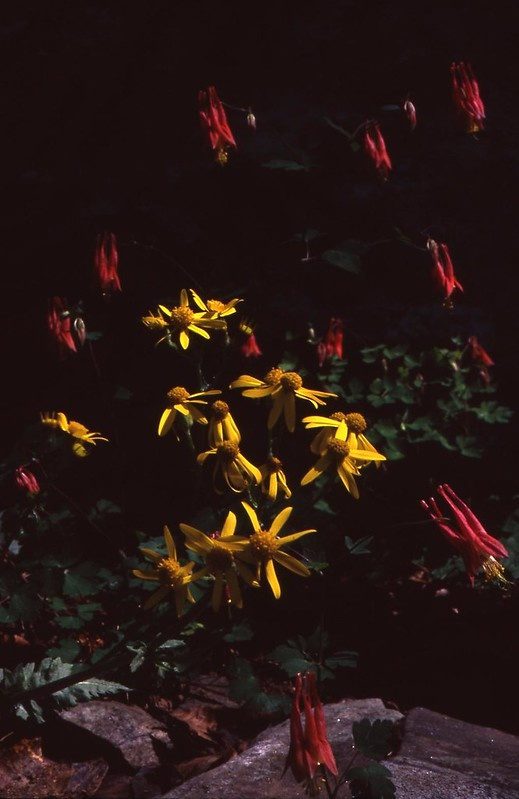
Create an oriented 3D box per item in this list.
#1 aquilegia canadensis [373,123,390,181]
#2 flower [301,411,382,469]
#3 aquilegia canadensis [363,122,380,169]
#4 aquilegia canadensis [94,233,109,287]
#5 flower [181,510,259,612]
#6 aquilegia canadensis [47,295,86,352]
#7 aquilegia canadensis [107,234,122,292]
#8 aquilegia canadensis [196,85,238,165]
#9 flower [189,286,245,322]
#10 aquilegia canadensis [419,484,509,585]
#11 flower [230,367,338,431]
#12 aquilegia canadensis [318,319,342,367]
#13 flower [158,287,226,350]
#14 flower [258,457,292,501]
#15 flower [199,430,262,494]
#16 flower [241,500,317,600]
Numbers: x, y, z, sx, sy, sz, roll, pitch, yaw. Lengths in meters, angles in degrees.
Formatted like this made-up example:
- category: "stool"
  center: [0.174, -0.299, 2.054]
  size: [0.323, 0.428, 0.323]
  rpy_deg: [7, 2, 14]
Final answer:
- category: "aquilegia canadensis"
  center: [0.223, -0.447, 1.400]
  size: [0.027, 0.094, 0.026]
  rpy_deg: [-15, 20, -15]
- category: "flower"
  center: [0.131, 0.050, 1.292]
  size: [0.099, 0.059, 0.096]
  rpy_deg: [27, 11, -19]
- category: "aquilegia canadensis"
  center: [0.210, -0.458, 1.398]
  size: [0.026, 0.074, 0.029]
  rpy_deg: [-15, -1, 15]
- category: "aquilegia canadensis"
  center: [-0.285, -0.253, 1.417]
  size: [0.026, 0.097, 0.023]
  rpy_deg: [-6, 1, 2]
- category: "flower"
  center: [-0.059, 0.233, 1.193]
  size: [0.153, 0.137, 0.039]
  rpy_deg: [-3, 3, 14]
- category: "aquilegia canadensis"
  center: [-0.348, -0.140, 1.413]
  size: [0.069, 0.105, 0.073]
  rpy_deg: [-6, 1, -14]
- category: "aquilegia canadensis"
  center: [-0.264, -0.251, 1.420]
  size: [0.020, 0.102, 0.026]
  rpy_deg: [-7, 1, -4]
- category: "aquilegia canadensis"
  center: [-0.073, -0.487, 1.399]
  size: [0.073, 0.130, 0.039]
  rpy_deg: [-3, -8, -3]
- category: "flower"
  center: [-0.075, -0.162, 1.341]
  size: [0.072, 0.027, 0.068]
  rpy_deg: [10, 15, -5]
- category: "aquilegia canadensis"
  center: [0.366, 0.247, 1.386]
  size: [0.132, 0.162, 0.232]
  rpy_deg: [-6, 1, 15]
- category: "flower"
  center: [0.044, -0.005, 1.265]
  size: [0.130, 0.068, 0.122]
  rpy_deg: [3, 39, -13]
- category: "aquilegia canadensis"
  center: [0.142, -0.116, 1.545]
  size: [0.057, 0.088, 0.035]
  rpy_deg: [-6, 1, 9]
- category: "flower"
  center: [-0.110, -0.143, 1.340]
  size: [0.117, 0.105, 0.141]
  rpy_deg: [-6, 1, 24]
- category: "flower"
  center: [0.024, 0.124, 1.245]
  size: [0.042, 0.066, 0.051]
  rpy_deg: [-6, 1, -1]
- category: "flower"
  center: [-0.047, 0.106, 1.247]
  size: [0.097, 0.083, 0.077]
  rpy_deg: [-6, 1, -5]
- category: "flower"
  center: [0.039, 0.259, 1.288]
  size: [0.099, 0.164, 0.299]
  rpy_deg: [-6, 1, 3]
